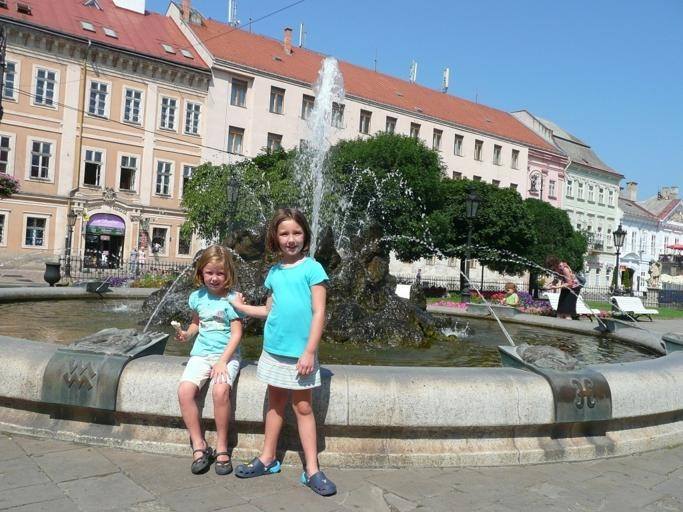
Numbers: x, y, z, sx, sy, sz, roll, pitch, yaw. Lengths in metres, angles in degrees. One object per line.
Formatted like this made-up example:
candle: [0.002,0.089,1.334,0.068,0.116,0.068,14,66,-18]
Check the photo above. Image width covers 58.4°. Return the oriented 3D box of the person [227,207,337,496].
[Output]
person: [-0.399,0.648,4.506,0.716,1.996,0.748,2,3,-11]

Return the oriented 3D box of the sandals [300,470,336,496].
sandals: [-0.157,1.616,4.325,0.107,0.082,0.237,-4,-3,-35]

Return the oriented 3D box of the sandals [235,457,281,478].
sandals: [-0.621,1.577,4.533,0.335,0.117,0.122,9,-11,-34]

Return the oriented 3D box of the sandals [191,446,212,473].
sandals: [-1.039,1.521,4.544,0.141,0.150,0.216,3,3,-4]

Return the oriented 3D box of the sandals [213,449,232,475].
sandals: [-0.889,1.541,4.513,0.150,0.119,0.424,0,-1,-11]

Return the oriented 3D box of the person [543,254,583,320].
person: [4.975,0.711,13.791,0.865,1.692,0.607,14,32,37]
